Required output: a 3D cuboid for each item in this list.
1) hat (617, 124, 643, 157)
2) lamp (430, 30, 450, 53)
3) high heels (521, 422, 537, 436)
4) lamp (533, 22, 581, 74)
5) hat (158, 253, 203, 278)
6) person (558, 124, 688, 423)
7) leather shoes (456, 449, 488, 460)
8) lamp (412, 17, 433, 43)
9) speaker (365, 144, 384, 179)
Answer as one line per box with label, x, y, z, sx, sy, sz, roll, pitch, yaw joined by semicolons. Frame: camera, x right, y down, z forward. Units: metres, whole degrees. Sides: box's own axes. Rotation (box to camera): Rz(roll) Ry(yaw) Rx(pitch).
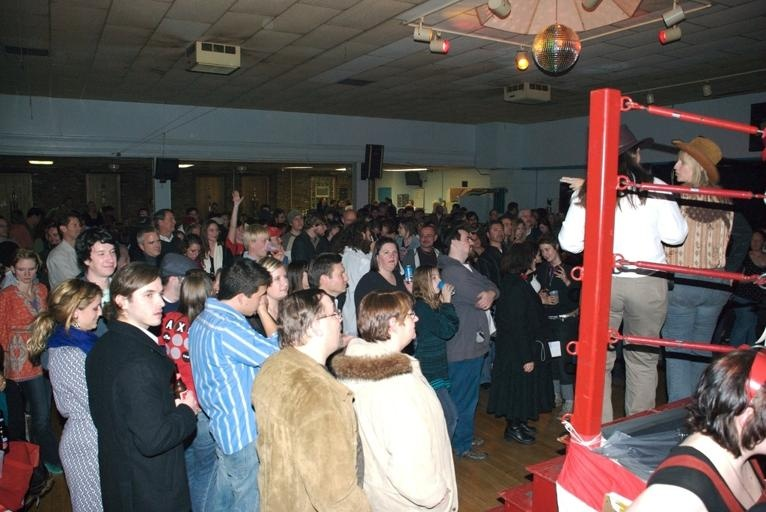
hat;1.715;-0.806;4.117;0.128;0.214;0.416;5;6;29
lamp;0.719;-2.676;7.464;0.201;0.346;0.598;2;5;8
high heels;1.442;1.701;5.875;0.094;0.091;0.215;-1;7;-42
lamp;1.859;-2.214;6.371;0.486;0.538;0.484;-8;14;-28
hat;-1.920;0.083;5.527;0.314;0.148;0.420;1;-1;-11
person;1.753;0.157;4.238;0.948;2.151;0.566;-1;6;-26
leather shoes;0.836;1.832;5.527;0.293;0.116;0.100;-4;-2;12
lamp;0.496;-2.726;7.298;0.301;0.305;0.180;1;1;2
speaker;-0.162;-2.081;13.018;0.497;0.779;0.313;0;6;-22
